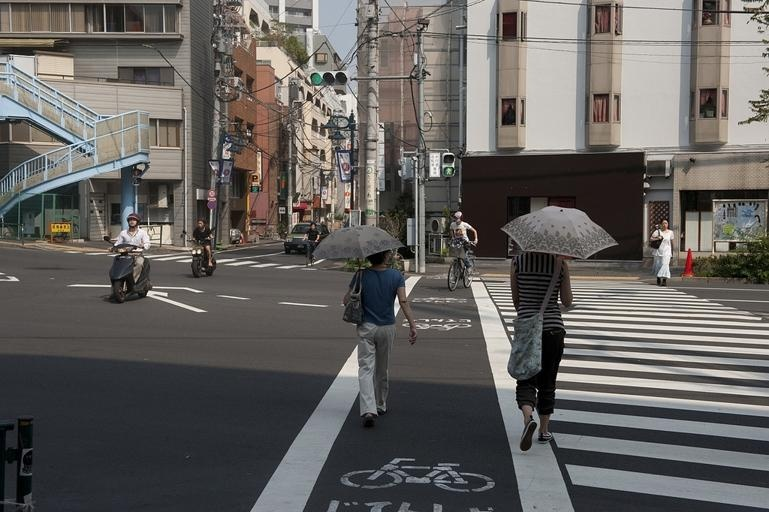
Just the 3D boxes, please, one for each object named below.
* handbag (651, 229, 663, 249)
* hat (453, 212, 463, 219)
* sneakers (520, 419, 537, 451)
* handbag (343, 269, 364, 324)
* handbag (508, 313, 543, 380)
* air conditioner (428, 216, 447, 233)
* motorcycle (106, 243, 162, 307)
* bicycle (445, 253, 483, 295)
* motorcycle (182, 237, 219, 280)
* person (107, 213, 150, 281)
[{"bbox_3d":[9.904,-0.495,30.548,0.332,0.643,0.536,3,9,12],"label":"handbag"},{"bbox_3d":[2.866,-1.228,29.264,0.204,0.258,0.282,-5,-2,7],"label":"hat"},{"bbox_3d":[2.606,2.742,14.815,0.211,0.576,0.227,1,23,-14],"label":"sneakers"},{"bbox_3d":[-0.351,0.711,15.900,0.325,0.903,0.397,0,9,-3],"label":"handbag"},{"bbox_3d":[2.611,1.421,14.922,0.559,1.091,0.329,3,9,9],"label":"handbag"},{"bbox_3d":[3.029,-1.286,40.414,0.975,0.914,0.511,-1,9,-5],"label":"air conditioner"},{"bbox_3d":[-7.044,0.496,25.223,0.895,1.487,1.681,1,9,2],"label":"motorcycle"},{"bbox_3d":[2.990,0.593,29.561,0.728,0.970,1.631,1,0,27],"label":"bicycle"},{"bbox_3d":[-6.425,0.234,32.212,0.670,0.966,1.637,-1,-5,10],"label":"motorcycle"},{"bbox_3d":[-7.130,-0.327,26.020,1.018,1.173,1.770,0,0,-1],"label":"person"}]
